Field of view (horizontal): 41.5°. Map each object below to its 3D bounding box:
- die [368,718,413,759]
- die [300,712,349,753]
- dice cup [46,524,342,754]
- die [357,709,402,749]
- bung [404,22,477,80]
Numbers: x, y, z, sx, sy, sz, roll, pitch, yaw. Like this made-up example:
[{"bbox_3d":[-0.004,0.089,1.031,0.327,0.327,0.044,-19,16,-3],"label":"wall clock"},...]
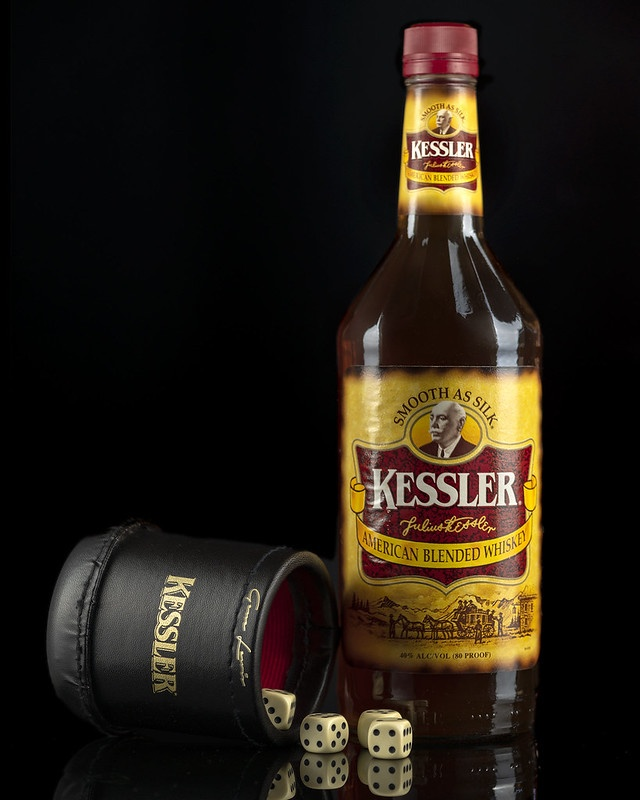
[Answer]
[{"bbox_3d":[0.045,0.224,0.561,0.029,0.026,0.028,0,0,-4],"label":"die"},{"bbox_3d":[0.002,0.234,0.596,0.030,0.029,0.031,-2,-5,38],"label":"die"},{"bbox_3d":[-0.076,0.171,0.647,0.153,0.158,0.204,-5,-4,33],"label":"dice cup"},{"bbox_3d":[0.040,0.219,0.578,0.030,0.028,0.030,0,3,2],"label":"die"},{"bbox_3d":[0.087,-0.251,0.609,0.045,0.028,0.044,0,6,2],"label":"bung"}]
